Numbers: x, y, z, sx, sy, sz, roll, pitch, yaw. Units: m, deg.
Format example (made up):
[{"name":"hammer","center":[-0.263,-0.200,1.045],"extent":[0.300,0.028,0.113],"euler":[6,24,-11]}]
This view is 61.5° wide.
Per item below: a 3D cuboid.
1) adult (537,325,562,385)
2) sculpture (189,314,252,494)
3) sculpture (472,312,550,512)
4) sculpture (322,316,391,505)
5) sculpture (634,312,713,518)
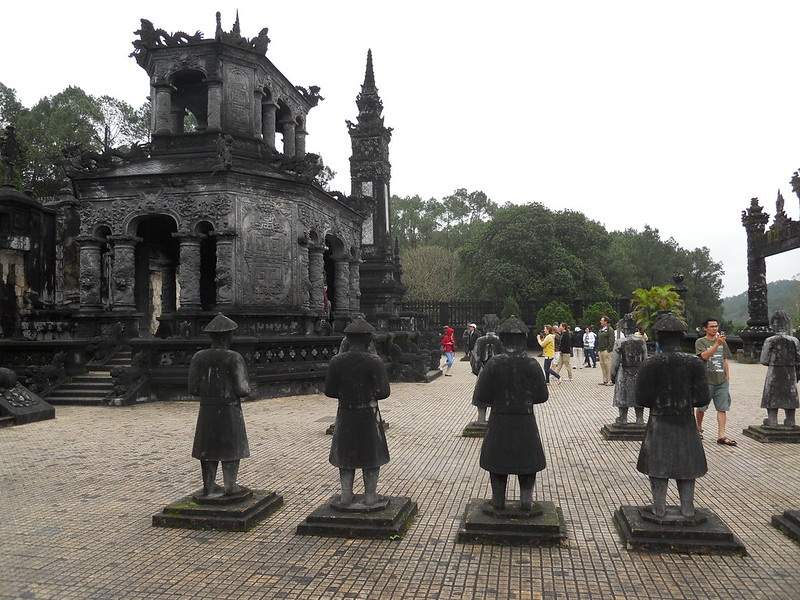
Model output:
[{"name":"adult","center":[4.139,1.541,18.839],"extent":[0.837,1.659,0.596],"euler":[4,-8,9]},{"name":"sculpture","center":[-2.325,1.354,8.669],"extent":[0.766,2.303,0.606],"euler":[2,8,21]},{"name":"sculpture","center":[1.344,1.443,8.264],"extent":[0.883,2.389,0.763],"euler":[1,7,9]},{"name":"sculpture","center":[-0.532,1.437,8.453],"extent":[0.787,2.345,0.680],"euler":[2,8,15]},{"name":"sculpture","center":[3.229,1.383,8.023],"extent":[0.797,2.315,0.626],"euler":[0,7,6]}]
